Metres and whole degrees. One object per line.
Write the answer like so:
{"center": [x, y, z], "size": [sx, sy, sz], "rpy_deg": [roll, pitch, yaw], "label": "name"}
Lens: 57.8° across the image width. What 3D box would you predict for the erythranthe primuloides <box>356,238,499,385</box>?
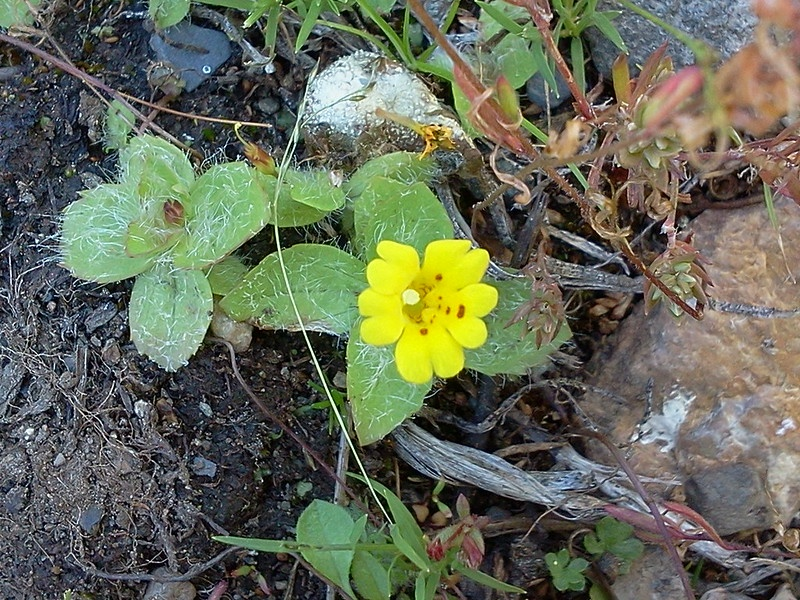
{"center": [0.067, 0.030, 2.307], "size": [0.484, 0.209, 0.441], "rpy_deg": [16, 51, -4], "label": "erythranthe primuloides"}
